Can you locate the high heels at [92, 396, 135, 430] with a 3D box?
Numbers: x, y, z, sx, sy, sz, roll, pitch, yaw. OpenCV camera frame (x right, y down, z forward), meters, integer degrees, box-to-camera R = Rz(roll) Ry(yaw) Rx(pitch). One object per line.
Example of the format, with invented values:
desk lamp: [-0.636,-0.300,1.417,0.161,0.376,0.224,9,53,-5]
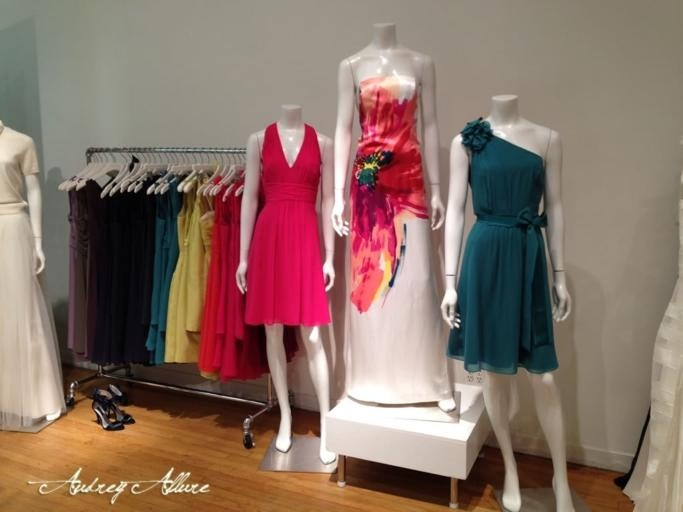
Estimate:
high heels: [-1.566,1.069,3.958,0.215,0.103,0.184,17,9,15]

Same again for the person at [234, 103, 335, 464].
person: [-0.342,0.157,3.513,0.594,2.043,0.615,-1,13,-2]

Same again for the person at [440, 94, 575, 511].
person: [0.865,0.247,2.984,0.696,2.045,0.376,3,13,13]
